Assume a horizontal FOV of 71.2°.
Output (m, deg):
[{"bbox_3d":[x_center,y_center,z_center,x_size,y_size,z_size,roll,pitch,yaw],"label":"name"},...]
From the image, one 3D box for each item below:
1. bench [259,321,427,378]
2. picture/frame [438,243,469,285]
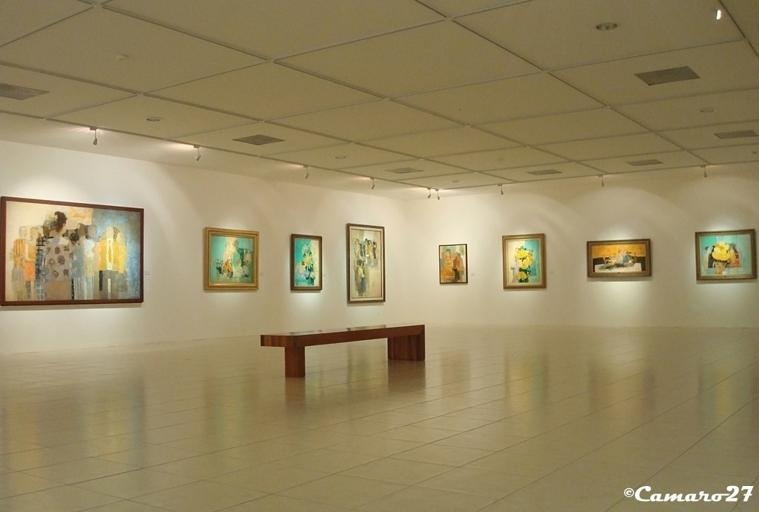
[{"bbox_3d":[-0.672,2.277,13.079,4.356,1.021,0.995,1,-1,-40],"label":"bench"},{"bbox_3d":[3.763,0.391,27.351,1.517,2.013,0.078,-2,-2,-11],"label":"picture/frame"}]
